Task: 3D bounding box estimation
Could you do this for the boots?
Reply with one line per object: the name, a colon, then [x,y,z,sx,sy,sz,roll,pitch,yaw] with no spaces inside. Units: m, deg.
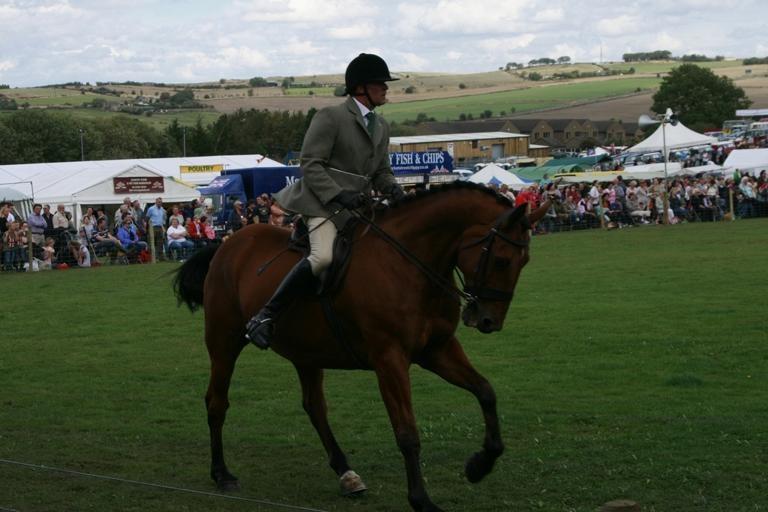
boots: [-1.315,0.653,13.213,1.387,0.330,0.512,-43,22,-7]
